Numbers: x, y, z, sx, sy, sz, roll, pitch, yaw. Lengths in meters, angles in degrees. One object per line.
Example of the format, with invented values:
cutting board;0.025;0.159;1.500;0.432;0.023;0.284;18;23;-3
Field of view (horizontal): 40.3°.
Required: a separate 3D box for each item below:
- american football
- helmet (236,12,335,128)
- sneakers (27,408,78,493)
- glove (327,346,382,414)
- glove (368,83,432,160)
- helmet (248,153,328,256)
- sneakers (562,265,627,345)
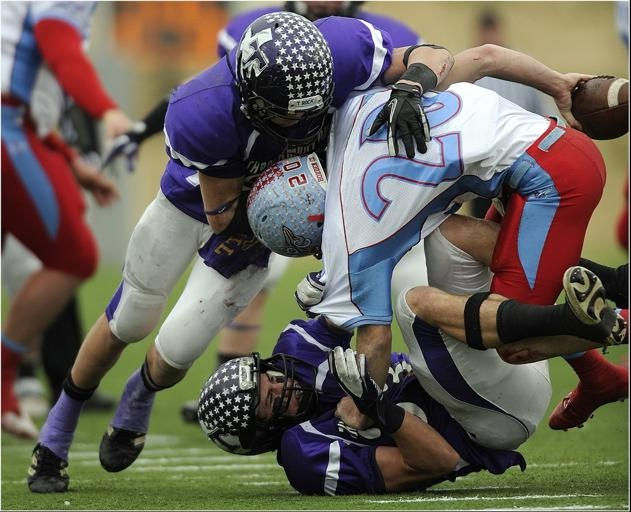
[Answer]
american football;1.141;-0.592;3.418;0.244;0.220;0.191;6;11;43
helmet;-0.135;-0.726;3.298;0.356;0.382;0.465;-11;38;-26
sneakers;-1.142;0.858;3.676;0.131;0.394;0.161;2;-17;-17
glove;0.166;0.496;3.170;0.150;0.131;0.417;-11;-36;27
glove;0.329;-0.494;3.110;0.182;0.278;0.087;-2;-7;14
helmet;-0.097;-0.177;3.277;0.353;0.315;0.273;0;11;2
sneakers;0.948;0.184;3.051;0.173;0.295;0.114;-36;0;-40
